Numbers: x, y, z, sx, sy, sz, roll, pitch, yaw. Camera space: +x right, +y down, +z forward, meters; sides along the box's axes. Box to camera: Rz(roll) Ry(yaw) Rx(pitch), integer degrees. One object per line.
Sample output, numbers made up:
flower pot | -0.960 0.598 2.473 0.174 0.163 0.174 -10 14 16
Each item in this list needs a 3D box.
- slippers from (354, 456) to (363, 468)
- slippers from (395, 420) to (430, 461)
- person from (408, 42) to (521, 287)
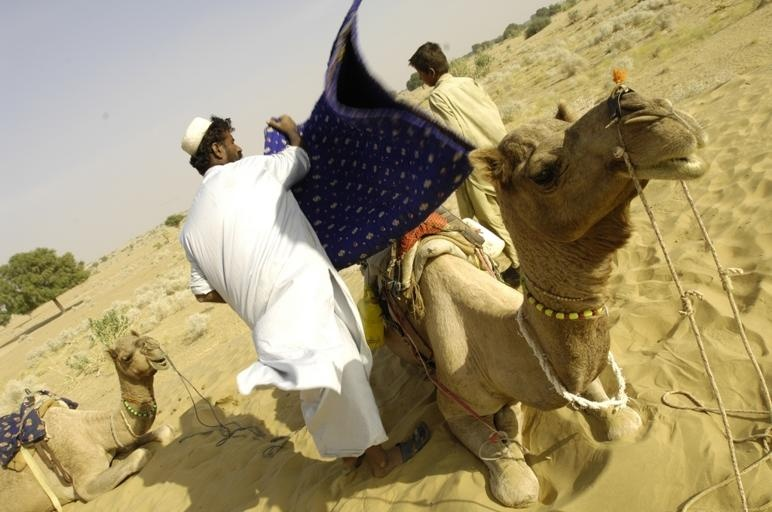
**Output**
slippers | -0.301 2.479 6.169 0.075 0.034 0.107 16 90 57
slippers | 0.358 2.157 6.101 0.656 0.276 0.252 -3 -2 40
person | 1.332 -1.588 7.811 1.021 3.391 0.941 -29 8 -41
